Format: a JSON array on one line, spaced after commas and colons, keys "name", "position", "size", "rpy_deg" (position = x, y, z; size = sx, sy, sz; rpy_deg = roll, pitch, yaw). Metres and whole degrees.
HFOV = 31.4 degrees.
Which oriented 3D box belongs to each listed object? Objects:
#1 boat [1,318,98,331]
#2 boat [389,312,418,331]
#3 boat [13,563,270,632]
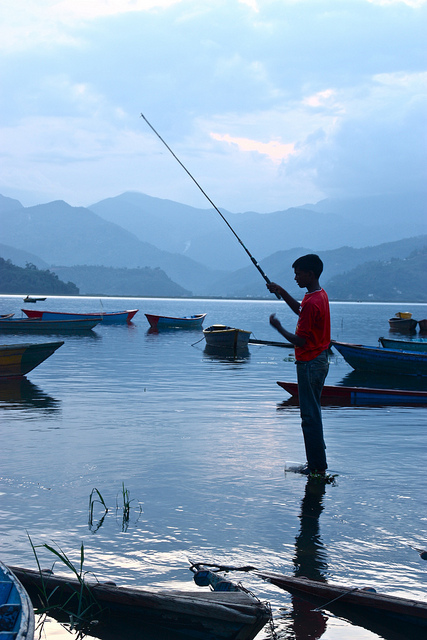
[{"name": "boat", "position": [-10.151, 0.294, 45.943], "size": [1.573, 0.701, 7.271], "rpy_deg": [-2, -4, 29]}, {"name": "boat", "position": [15.263, 0.053, 61.714], "size": [1.589, 0.967, 4.392], "rpy_deg": [-3, 2, 4]}, {"name": "boat", "position": [-0.538, 2.091, 5.675], "size": [1.720, 0.304, 0.520], "rpy_deg": [1, -10, 22]}]
